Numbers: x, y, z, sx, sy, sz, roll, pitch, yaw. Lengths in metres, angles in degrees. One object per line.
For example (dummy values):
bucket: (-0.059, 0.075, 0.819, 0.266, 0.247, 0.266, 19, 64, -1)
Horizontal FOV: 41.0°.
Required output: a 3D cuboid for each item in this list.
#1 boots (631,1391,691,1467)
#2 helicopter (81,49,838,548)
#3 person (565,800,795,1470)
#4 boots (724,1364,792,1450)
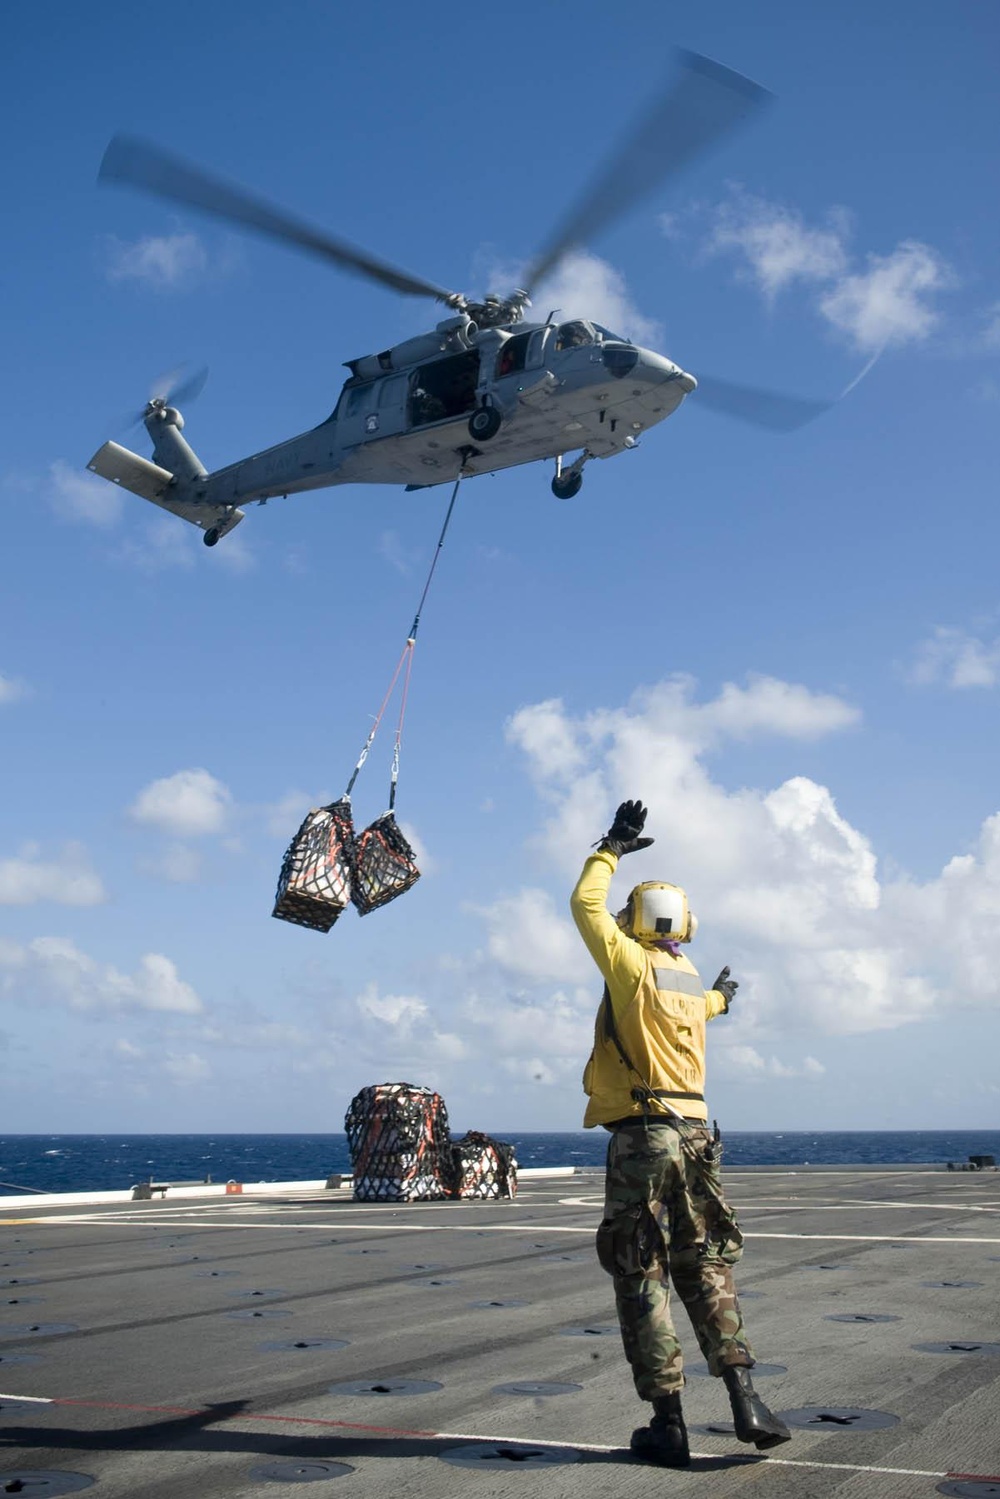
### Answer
boots: (0.569, 2.380, 4.694, 0.214, 0.217, 0.135, 2, -13, 6)
helicopter: (-1.326, -4.899, 18.578, 8.138, 2.840, 9.248, 21, -27, -39)
person: (0.663, 1.394, 5.233, 0.825, 2.458, 0.983, 2, -13, 4)
boots: (0.906, 2.323, 4.729, 0.176, 0.224, 0.243, 4, -13, -3)
